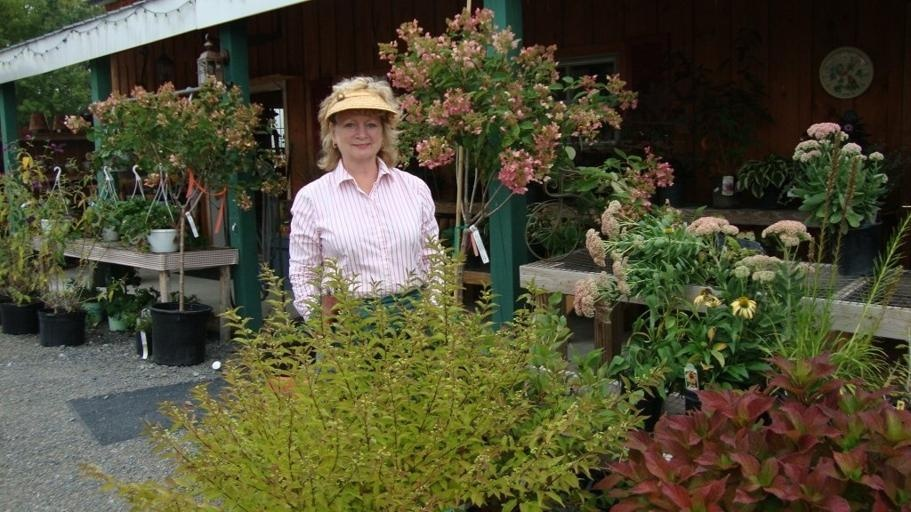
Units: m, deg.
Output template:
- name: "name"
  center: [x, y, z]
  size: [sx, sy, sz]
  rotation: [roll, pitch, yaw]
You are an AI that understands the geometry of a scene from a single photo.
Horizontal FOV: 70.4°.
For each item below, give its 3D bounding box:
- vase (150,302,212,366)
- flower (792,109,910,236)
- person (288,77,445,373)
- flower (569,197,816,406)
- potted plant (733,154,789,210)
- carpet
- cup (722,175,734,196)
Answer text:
- name: "vase"
  center: [-2.591, 0.718, 6.257]
  size: [0.601, 0.496, 0.590]
  rotation: [0, 9, -11]
- name: "flower"
  center: [2.057, -0.433, 3.523]
  size: [0.452, 0.612, 1.024]
  rotation: [6, 8, 33]
- name: "person"
  center: [-0.515, -0.399, 3.727]
  size: [0.827, 1.254, 0.505]
  rotation: [0, 7, -14]
- name: "flower"
  center: [1.181, 0.350, 3.646]
  size: [1.190, 0.782, 0.987]
  rotation: [-9, 27, 6]
- name: "potted plant"
  center: [2.713, -0.683, 5.789]
  size: [0.461, 0.313, 0.434]
  rotation: [0, 5, 36]
- name: "carpet"
  center: [-2.663, 1.268, 5.359]
  size: [0.895, 0.175, 1.059]
  rotation: [-2, 8, -30]
- name: "cup"
  center: [2.518, -0.657, 6.007]
  size: [0.123, 0.183, 0.055]
  rotation: [2, 7, 4]
